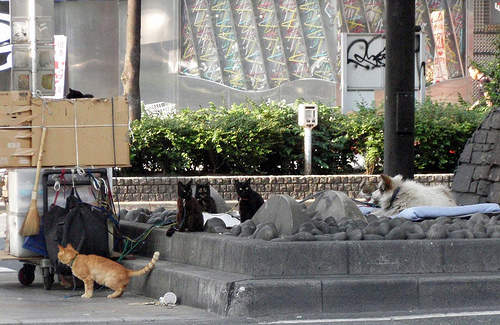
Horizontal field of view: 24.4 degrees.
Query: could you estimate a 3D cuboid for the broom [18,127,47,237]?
[{"bbox_3d":[-4.751,0.529,25.552,0.458,1.970,0.429,4,-1,-38],"label":"broom"}]
